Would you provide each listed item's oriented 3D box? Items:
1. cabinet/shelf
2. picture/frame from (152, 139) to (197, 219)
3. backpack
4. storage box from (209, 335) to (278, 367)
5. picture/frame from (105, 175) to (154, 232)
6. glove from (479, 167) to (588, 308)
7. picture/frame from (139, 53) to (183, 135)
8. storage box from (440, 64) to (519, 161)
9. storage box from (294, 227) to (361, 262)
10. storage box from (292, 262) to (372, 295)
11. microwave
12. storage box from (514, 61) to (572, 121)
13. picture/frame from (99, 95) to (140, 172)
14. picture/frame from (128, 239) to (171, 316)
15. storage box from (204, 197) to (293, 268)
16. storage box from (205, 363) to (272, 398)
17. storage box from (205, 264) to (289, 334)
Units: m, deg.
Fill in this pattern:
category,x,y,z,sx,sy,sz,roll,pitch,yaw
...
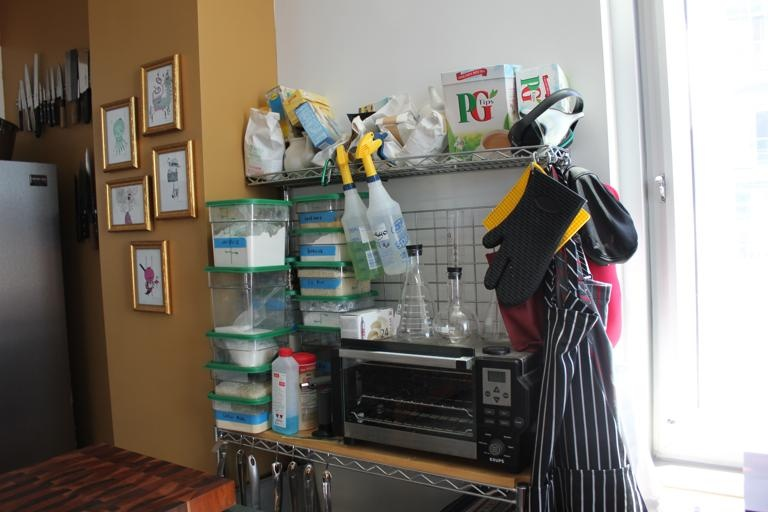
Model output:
category,x,y,z,sx,sy,sz,roll,pitch,yaw
cabinet/shelf,0.157,-0.055,2.683,1.818,1.313,1.202,1,5,32
picture/frame,-0.952,-0.358,2.695,0.359,0.471,0.047,-2,-1,33
backpack,0.781,-0.153,2.105,0.113,0.334,0.237,-22,-16,32
storage box,-0.603,0.405,2.517,0.196,0.075,0.147,-5,-4,38
picture/frame,-1.253,-0.252,2.878,0.283,0.268,0.029,-2,1,26
glove,0.503,-0.033,2.096,0.119,0.496,0.332,18,30,-42
picture/frame,-1.020,-0.751,2.714,0.374,0.474,0.052,-3,-4,34
storage box,0.352,-0.529,2.317,0.271,0.340,0.240,-2,-9,-9
storage box,-0.261,-0.047,2.528,0.189,0.114,0.151,-2,-2,35
storage box,-0.239,0.098,2.559,0.234,0.102,0.162,-1,0,34
microwave,0.200,0.546,2.257,0.713,0.426,0.390,1,0,28
storage box,0.625,-0.650,2.259,0.203,0.178,0.203,-30,29,-31
picture/frame,-1.288,-0.604,2.878,0.364,0.501,0.051,-3,-2,33
picture/frame,-1.105,0.100,2.796,0.347,0.379,0.043,3,8,38
storage box,-0.587,-0.092,2.594,0.336,0.273,0.336,-1,2,7
storage box,-0.618,0.533,2.504,0.215,0.086,0.150,-2,-1,38
storage box,-0.584,0.182,2.513,0.258,0.240,0.321,-3,-4,31
